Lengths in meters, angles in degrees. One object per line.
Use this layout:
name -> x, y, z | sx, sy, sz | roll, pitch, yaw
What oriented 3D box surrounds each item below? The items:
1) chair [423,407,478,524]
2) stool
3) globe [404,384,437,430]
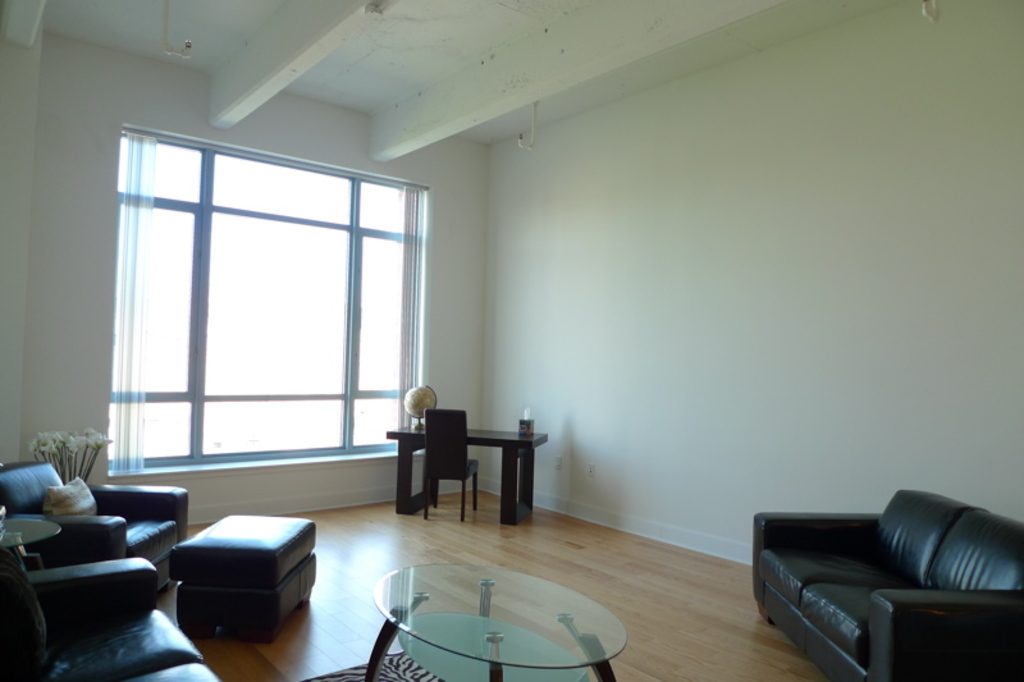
chair -> -0.685, 1.373, 8.135 | 0.621, 1.086, 0.739 | 1, 0, -3
stool -> -2.105, 1.859, 5.705 | 0.849, 0.683, 1.152 | 1, -2, -4
globe -> -1.091, 0.790, 8.502 | 0.414, 0.541, 0.365 | -5, 10, -31
